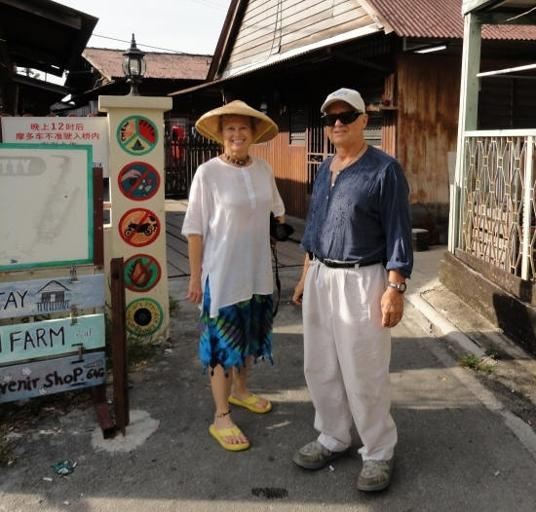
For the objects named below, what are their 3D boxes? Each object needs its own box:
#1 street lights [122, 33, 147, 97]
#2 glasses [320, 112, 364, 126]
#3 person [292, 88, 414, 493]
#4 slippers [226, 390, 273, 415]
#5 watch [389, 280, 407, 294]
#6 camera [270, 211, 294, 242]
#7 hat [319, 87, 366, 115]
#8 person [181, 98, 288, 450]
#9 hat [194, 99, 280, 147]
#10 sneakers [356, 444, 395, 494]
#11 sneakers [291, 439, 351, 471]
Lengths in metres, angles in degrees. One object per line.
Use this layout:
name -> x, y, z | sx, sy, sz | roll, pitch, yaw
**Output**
street lights -> -2.170, -3.057, 8.156 | 0.269, 0.937, 0.251 | -5, 12, -40
glasses -> 0.396, -0.718, 2.666 | 0.217, 0.072, 0.144 | 3, 12, 17
person -> 0.457, 0.158, 2.695 | 0.625, 2.040, 0.543 | 3, 11, 23
slippers -> -0.113, 1.013, 3.489 | 0.227, 0.084, 0.135 | 5, 13, 39
watch -> 0.655, 0.158, 2.504 | 0.075, 0.057, 0.072 | 14, -9, -41
camera -> 0.090, -0.188, 3.378 | 0.161, 0.195, 0.137 | 1, 12, -9
hat -> 0.405, -0.819, 2.678 | 0.222, 0.138, 0.224 | 1, 12, 8
person -> -0.195, 0.075, 3.210 | 0.498, 2.057, 0.752 | 5, 12, 31
hat -> -0.203, -0.843, 3.209 | 0.354, 0.174, 0.394 | -1, -16, 7
sneakers -> 0.610, 1.189, 2.745 | 0.154, 0.192, 0.454 | -13, -18, 21
sneakers -> 0.280, 1.088, 2.839 | 0.273, 0.130, 0.107 | -3, 8, -36
